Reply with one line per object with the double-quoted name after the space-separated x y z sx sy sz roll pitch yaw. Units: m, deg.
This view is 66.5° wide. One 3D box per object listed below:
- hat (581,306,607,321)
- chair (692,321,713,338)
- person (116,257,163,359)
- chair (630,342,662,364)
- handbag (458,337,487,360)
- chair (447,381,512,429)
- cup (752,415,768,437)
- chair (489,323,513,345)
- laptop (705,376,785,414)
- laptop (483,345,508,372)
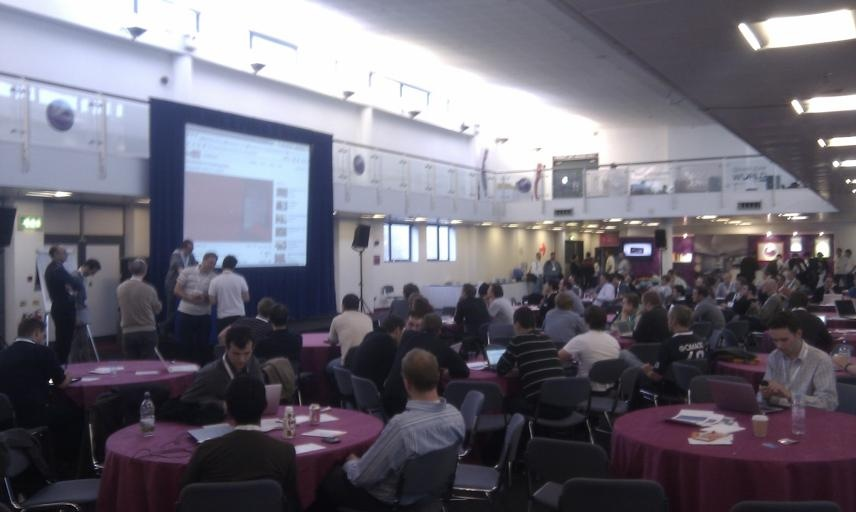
2.545 0.861 9.960 0.243 0.290 0.299 8 15 -3 "hat"
5.079 1.355 12.233 0.338 0.369 0.306 2 -2 -7 "chair"
-4.877 0.902 11.060 0.636 1.696 0.451 0 0 -23 "person"
3.548 1.548 10.635 0.450 0.535 0.430 0 -11 14 "chair"
0.824 1.681 12.013 0.509 0.487 0.391 -3 7 2 "handbag"
0.691 1.994 9.129 0.679 1.106 0.759 0 -2 15 "chair"
3.746 1.903 7.386 0.214 0.227 0.216 -1 -5 0 "cup"
1.347 1.402 11.871 0.342 0.436 0.365 0 -9 2 "chair"
3.790 1.705 7.948 0.563 0.356 0.513 -2 3 -33 "laptop"
1.025 1.524 9.952 0.381 0.269 0.252 1 -17 -33 "laptop"
